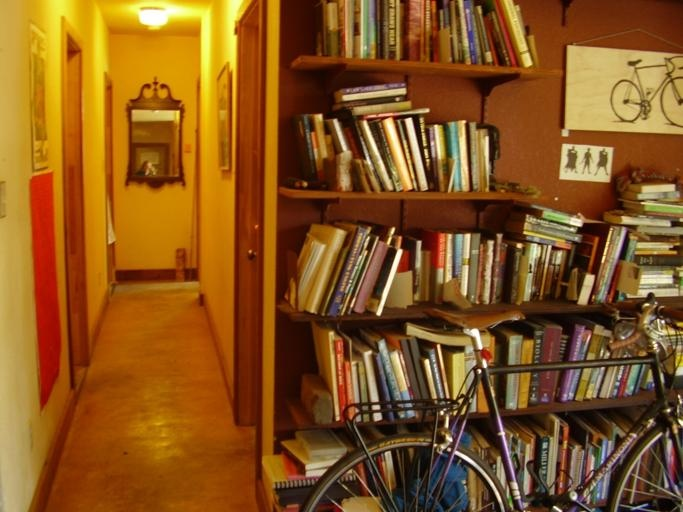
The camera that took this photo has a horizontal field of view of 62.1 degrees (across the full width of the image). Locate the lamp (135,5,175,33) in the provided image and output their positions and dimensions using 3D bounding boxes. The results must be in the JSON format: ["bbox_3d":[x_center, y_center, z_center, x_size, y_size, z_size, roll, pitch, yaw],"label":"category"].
[{"bbox_3d":[-2.053,-2.595,6.195,0.389,0.236,0.360,-1,11,-6],"label":"lamp"}]

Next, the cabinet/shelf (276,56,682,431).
[{"bbox_3d":[0.590,-0.014,2.674,2.227,1.415,0.651,0,3,-9],"label":"cabinet/shelf"}]
